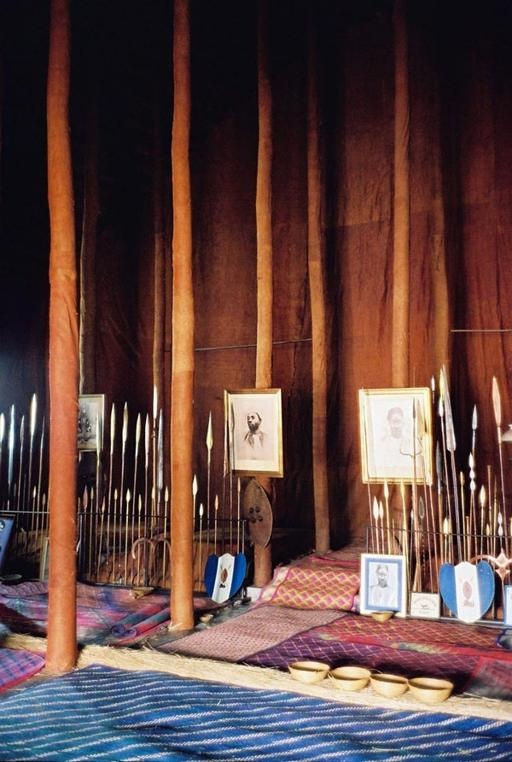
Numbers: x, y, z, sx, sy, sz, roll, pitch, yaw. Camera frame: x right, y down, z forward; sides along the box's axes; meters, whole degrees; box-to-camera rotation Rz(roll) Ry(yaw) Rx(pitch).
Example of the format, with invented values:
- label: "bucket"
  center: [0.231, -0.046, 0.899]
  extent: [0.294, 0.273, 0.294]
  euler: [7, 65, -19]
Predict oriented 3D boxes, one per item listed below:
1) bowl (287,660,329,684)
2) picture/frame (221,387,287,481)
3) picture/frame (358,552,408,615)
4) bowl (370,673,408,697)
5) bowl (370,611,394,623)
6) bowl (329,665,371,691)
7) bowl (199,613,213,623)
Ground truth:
- label: "bowl"
  center: [0.307, 1.602, 3.638]
  extent: [0.251, 0.067, 0.208]
  euler: [-6, -6, 38]
- label: "picture/frame"
  center: [-0.021, 0.493, 6.322]
  extent: [0.519, 1.017, 0.041]
  euler: [1, -41, -3]
- label: "picture/frame"
  center: [0.973, 1.592, 5.021]
  extent: [0.347, 0.087, 0.610]
  euler: [-6, 29, 16]
- label: "bowl"
  center: [0.692, 1.556, 3.377]
  extent: [0.195, 0.080, 0.193]
  euler: [-2, -4, 0]
- label: "bowl"
  center: [0.960, 1.744, 4.878]
  extent: [0.181, 0.063, 0.105]
  euler: [-1, -4, -15]
- label: "bowl"
  center: [0.509, 1.582, 3.511]
  extent: [0.222, 0.069, 0.244]
  euler: [-4, -5, 18]
- label: "bowl"
  center: [-0.389, 1.863, 5.183]
  extent: [0.098, 0.044, 0.176]
  euler: [-2, -5, 3]
